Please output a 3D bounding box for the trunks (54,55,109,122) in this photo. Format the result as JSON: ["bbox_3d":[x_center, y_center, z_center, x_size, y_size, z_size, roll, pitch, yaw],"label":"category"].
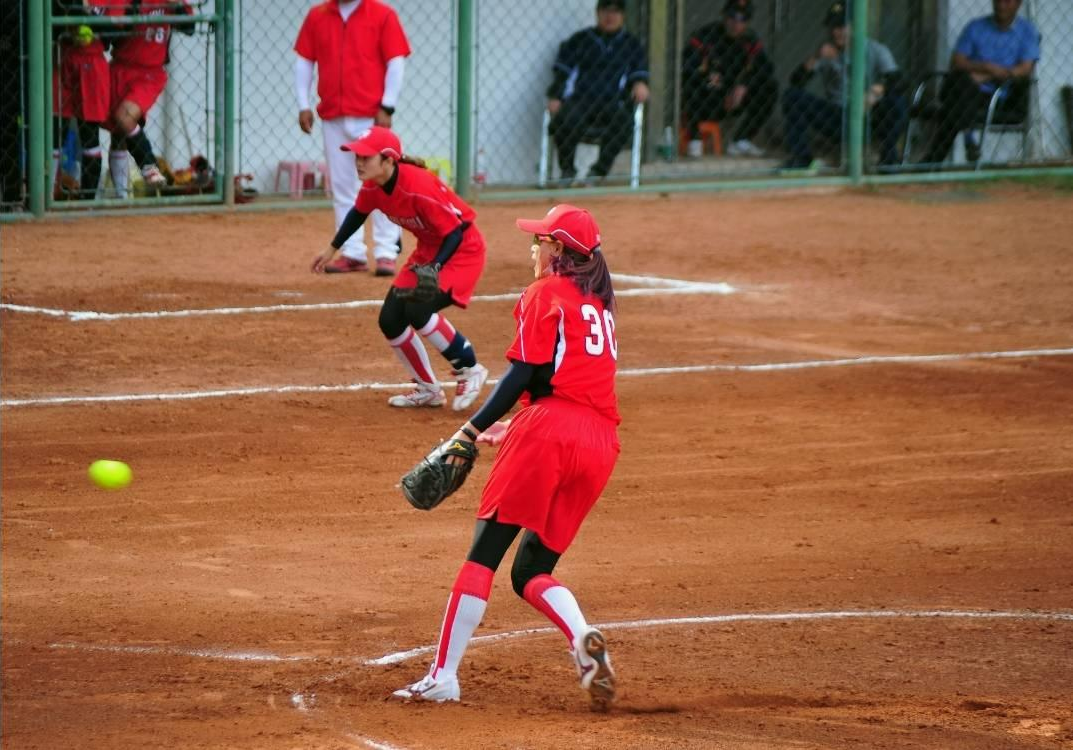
[{"bbox_3d":[-4.222,-2.720,13.884,0.750,0.550,0.380,2,16,-7],"label":"trunks"}]

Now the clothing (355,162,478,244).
[{"bbox_3d":[-0.771,-1.170,10.380,0.713,0.227,0.713,18,-13,-29],"label":"clothing"}]

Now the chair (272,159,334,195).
[{"bbox_3d":[-2.351,-1.986,14.890,0.534,0.289,0.467,-2,5,-21],"label":"chair"}]

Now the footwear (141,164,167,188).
[{"bbox_3d":[-3.701,-1.937,14.420,0.187,0.222,0.106,-40,6,-25],"label":"footwear"}]

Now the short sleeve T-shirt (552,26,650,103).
[{"bbox_3d":[0.579,-3.146,15.077,1.013,0.743,0.279,1,-8,13],"label":"short sleeve T-shirt"}]

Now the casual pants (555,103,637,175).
[{"bbox_3d":[0.527,-2.452,15.195,0.743,0.730,0.379,4,0,4],"label":"casual pants"}]

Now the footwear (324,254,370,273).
[{"bbox_3d":[-1.718,-1.013,13.413,0.486,0.163,0.169,0,8,-17],"label":"footwear"}]

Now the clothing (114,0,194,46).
[{"bbox_3d":[-3.610,-3.340,13.972,0.614,0.397,0.209,0,25,-43],"label":"clothing"}]

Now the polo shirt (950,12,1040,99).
[{"bbox_3d":[4.696,-3.273,15.301,1.016,0.786,0.510,20,8,15],"label":"polo shirt"}]

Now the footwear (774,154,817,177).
[{"bbox_3d":[2.700,-2.197,15.516,0.332,0.064,0.260,0,37,17],"label":"footwear"}]

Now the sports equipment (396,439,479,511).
[{"bbox_3d":[-0.516,0.501,7.904,0.464,0.317,0.174,-39,15,6],"label":"sports equipment"}]

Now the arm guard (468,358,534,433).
[{"bbox_3d":[-0.191,0.121,7.708,0.343,0.404,0.212,1,5,-4],"label":"arm guard"}]

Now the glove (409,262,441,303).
[{"bbox_3d":[-0.747,-0.650,10.146,0.298,0.223,0.221,0,-2,26],"label":"glove"}]

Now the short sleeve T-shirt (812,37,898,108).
[{"bbox_3d":[3.224,-3.095,15.258,1.012,0.614,0.374,4,17,17],"label":"short sleeve T-shirt"}]

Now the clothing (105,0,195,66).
[{"bbox_3d":[-3.657,-3.258,13.986,0.423,0.579,0.761,25,11,40],"label":"clothing"}]

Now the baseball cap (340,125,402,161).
[{"bbox_3d":[-1.082,-1.609,10.279,0.483,0.153,0.269,0,16,-22],"label":"baseball cap"}]

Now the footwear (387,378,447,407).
[{"bbox_3d":[-0.853,0.132,11.116,0.513,0.209,0.160,1,16,-3],"label":"footwear"}]

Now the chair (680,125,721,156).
[{"bbox_3d":[1.730,-2.546,15.881,0.512,0.336,0.367,2,20,10],"label":"chair"}]

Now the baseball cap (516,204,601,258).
[{"bbox_3d":[0.163,-0.784,7.941,0.471,0.185,0.251,13,12,8],"label":"baseball cap"}]

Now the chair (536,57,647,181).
[{"bbox_3d":[0.602,-2.841,15.260,1.021,1.258,0.656,11,8,9],"label":"chair"}]

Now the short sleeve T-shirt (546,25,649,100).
[{"bbox_3d":[0.610,-3.163,15.064,0.989,0.731,0.277,1,-9,14],"label":"short sleeve T-shirt"}]
